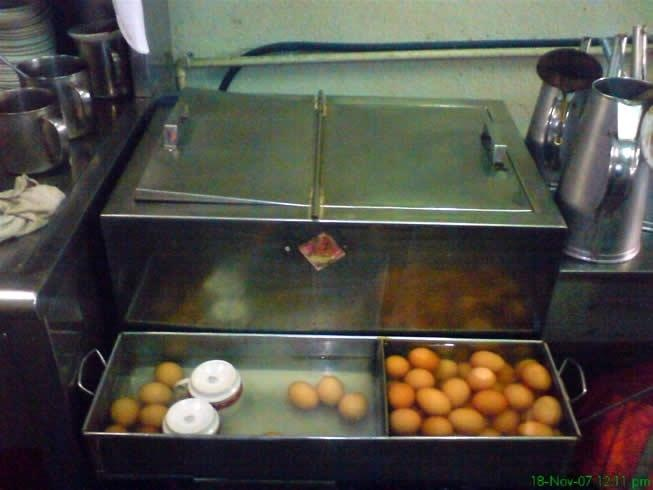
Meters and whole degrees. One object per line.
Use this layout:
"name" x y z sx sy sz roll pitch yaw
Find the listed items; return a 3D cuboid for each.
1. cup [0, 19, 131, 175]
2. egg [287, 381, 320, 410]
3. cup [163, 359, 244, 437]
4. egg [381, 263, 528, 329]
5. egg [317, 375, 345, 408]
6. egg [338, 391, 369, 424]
"cup" -0.648 -0.363 1.382 0.238 0.242 0.423 3 32 10
"egg" -0.051 0.314 1.225 0.061 0.048 0.047 27 9 7
"cup" -0.240 0.308 1.192 0.144 0.147 0.093 6 50 -2
"egg" 0.275 0.082 1.387 0.281 0.140 0.065 0 17 3
"egg" 0.006 0.310 1.253 0.060 0.072 0.057 0 0 -37
"egg" 0.052 0.334 1.207 0.054 0.054 0.064 2 23 -20
